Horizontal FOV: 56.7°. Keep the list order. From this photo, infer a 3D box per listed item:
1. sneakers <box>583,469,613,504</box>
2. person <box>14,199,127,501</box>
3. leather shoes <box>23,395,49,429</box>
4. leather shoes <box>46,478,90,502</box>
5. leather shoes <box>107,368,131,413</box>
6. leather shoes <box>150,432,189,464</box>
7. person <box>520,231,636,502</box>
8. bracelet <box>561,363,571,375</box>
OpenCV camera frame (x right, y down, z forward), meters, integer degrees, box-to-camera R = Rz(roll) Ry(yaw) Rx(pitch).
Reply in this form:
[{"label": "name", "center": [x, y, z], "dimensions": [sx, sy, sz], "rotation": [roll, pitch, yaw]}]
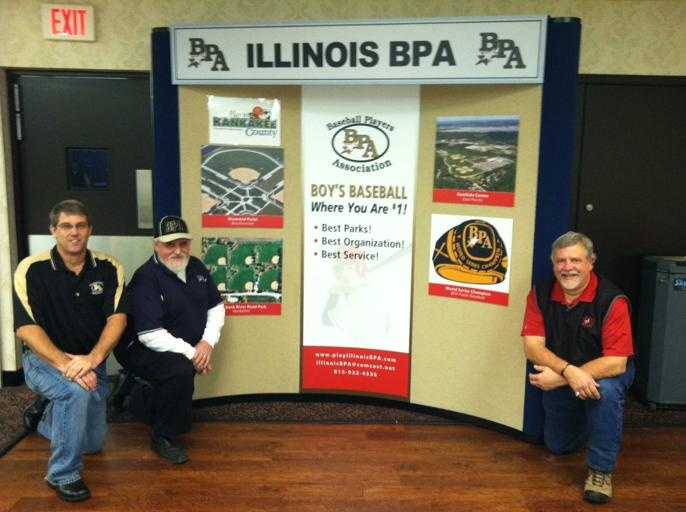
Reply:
[{"label": "sneakers", "center": [1.444, 1.300, 3.580], "dimensions": [0.098, 0.102, 0.244], "rotation": [-2, -5, 16]}, {"label": "person", "center": [-1.564, 0.512, 3.701], "dimensions": [0.607, 1.632, 0.582], "rotation": [-2, 9, -27]}, {"label": "leather shoes", "center": [-1.989, 1.004, 4.157], "dimensions": [0.068, 0.129, 0.224], "rotation": [-25, 26, 28]}, {"label": "leather shoes", "center": [-1.545, 1.311, 3.600], "dimensions": [0.221, 0.096, 0.090], "rotation": [10, 3, 13]}, {"label": "leather shoes", "center": [-1.510, 0.915, 4.425], "dimensions": [0.133, 0.310, 0.107], "rotation": [21, -7, -2]}, {"label": "leather shoes", "center": [-1.066, 1.165, 3.916], "dimensions": [0.252, 0.091, 0.126], "rotation": [14, 17, 30]}, {"label": "person", "center": [1.372, 0.606, 3.769], "dimensions": [0.613, 1.476, 0.467], "rotation": [7, 9, 31]}, {"label": "bracelet", "center": [1.304, 0.664, 3.705], "dimensions": [0.044, 0.074, 0.048], "rotation": [0, 8, -19]}]
